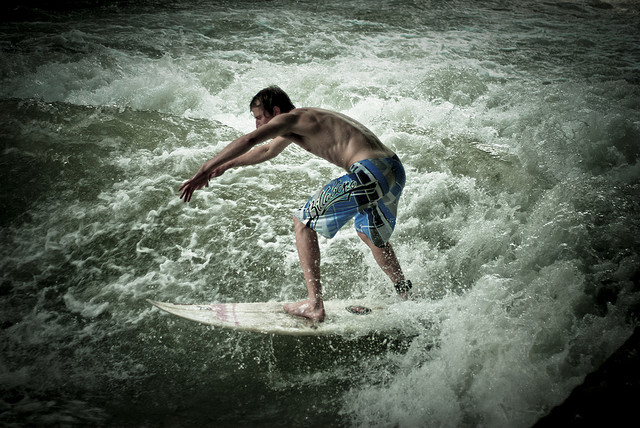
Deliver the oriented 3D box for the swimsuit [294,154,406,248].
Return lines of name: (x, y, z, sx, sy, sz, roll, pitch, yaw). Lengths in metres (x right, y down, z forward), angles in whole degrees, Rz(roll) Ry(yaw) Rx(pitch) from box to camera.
swimsuit: (0.490, -0.186, 7.216, 1.375, 1.194, 0.735, -9, 33, -46)

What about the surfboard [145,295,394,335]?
surfboard: (-0.608, 1.204, 7.089, 2.981, 0.226, 0.402, 1, 51, 0)
